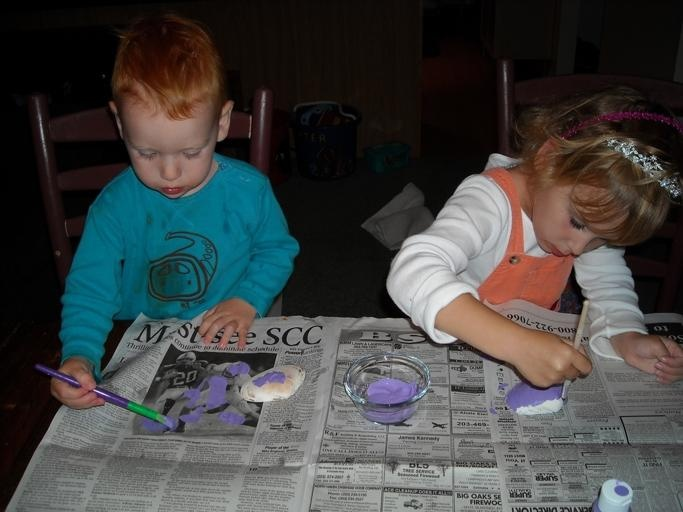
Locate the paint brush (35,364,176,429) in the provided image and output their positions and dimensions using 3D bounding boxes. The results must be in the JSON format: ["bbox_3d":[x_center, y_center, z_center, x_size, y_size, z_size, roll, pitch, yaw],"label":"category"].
[{"bbox_3d":[-0.410,0.249,0.869,0.213,0.022,0.028,22,84,6],"label":"paint brush"}]

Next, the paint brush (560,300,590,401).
[{"bbox_3d":[0.413,0.175,0.891,0.025,0.180,0.016,17,12,11],"label":"paint brush"}]
